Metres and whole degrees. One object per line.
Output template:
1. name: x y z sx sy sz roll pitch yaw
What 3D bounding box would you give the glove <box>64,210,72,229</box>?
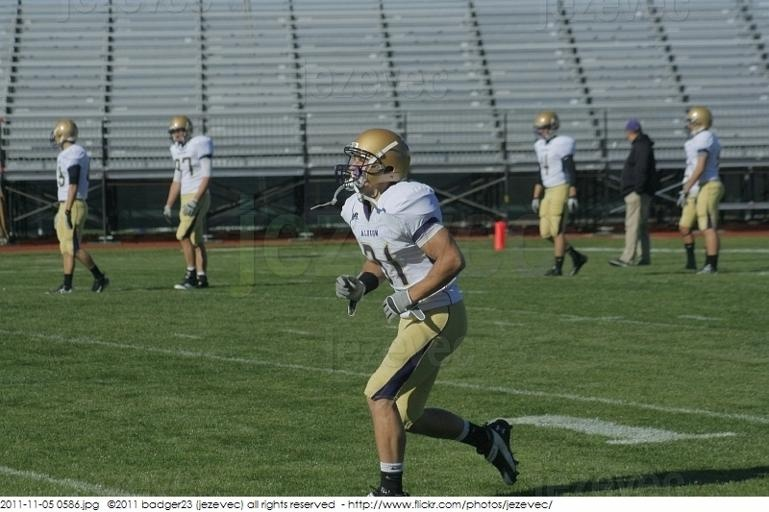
1. glove: -4.684 -0.528 20.655 0.170 0.220 0.096 8 6 41

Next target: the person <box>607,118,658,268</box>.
1. person: 4.129 -1.019 22.929 0.659 2.414 0.819 -1 2 9

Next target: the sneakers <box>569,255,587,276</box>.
1. sneakers: 3.092 0.142 22.295 0.240 0.430 0.149 12 20 -10

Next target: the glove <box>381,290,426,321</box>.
1. glove: 0.208 0.582 15.460 0.439 0.183 0.339 10 -22 -8

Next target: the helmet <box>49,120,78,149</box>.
1. helmet: -4.857 -1.863 21.036 0.337 0.396 0.466 -11 18 -42

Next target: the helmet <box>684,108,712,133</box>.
1. helmet: 5.006 -2.152 22.232 0.473 0.417 0.390 10 9 30

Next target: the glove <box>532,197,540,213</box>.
1. glove: 2.470 -0.813 22.698 0.115 0.237 0.185 8 -4 7

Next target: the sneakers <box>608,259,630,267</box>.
1. sneakers: 3.886 0.137 23.011 0.338 0.129 0.120 8 3 12

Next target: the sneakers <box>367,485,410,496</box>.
1. sneakers: 0.026 2.645 15.467 0.437 0.163 0.150 7 -13 2

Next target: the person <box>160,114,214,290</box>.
1. person: -3.015 -0.820 21.445 0.713 2.647 0.736 -2 2 -8

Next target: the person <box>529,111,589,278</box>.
1. person: 2.757 -0.992 22.256 0.765 2.643 0.809 -1 2 6

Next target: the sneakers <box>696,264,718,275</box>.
1. sneakers: 5.065 0.231 21.983 0.378 0.140 0.121 1 -3 -15

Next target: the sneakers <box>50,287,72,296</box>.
1. sneakers: -4.870 0.544 20.917 0.352 0.131 0.120 2 -2 3

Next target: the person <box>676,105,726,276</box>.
1. person: 5.015 -1.037 22.090 0.689 2.636 0.951 -1 2 11

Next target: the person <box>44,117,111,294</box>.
1. person: -4.656 -0.732 20.902 0.657 2.608 0.572 -2 3 -25
